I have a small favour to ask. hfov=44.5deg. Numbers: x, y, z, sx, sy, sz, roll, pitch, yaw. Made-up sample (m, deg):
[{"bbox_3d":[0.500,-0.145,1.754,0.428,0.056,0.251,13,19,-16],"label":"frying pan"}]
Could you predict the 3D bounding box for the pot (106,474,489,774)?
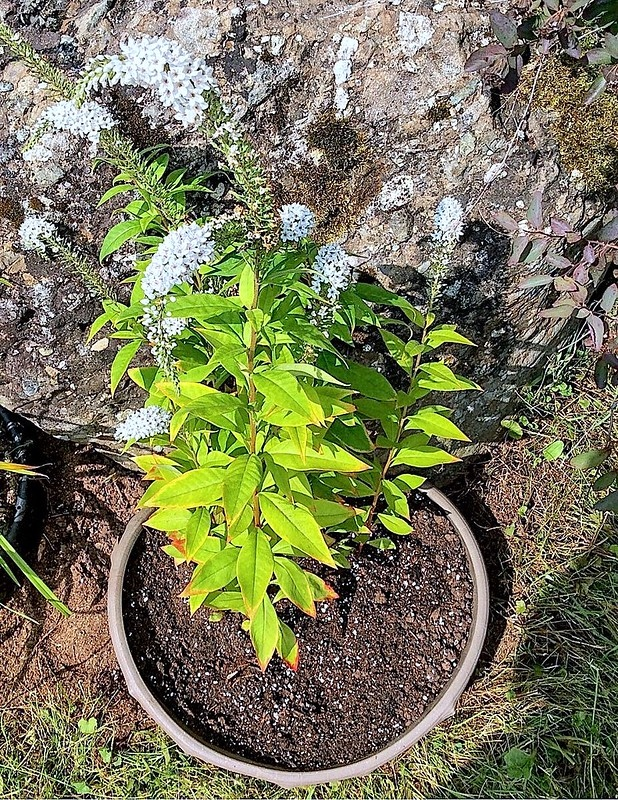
[{"bbox_3d":[0.004,0.703,2.246,1.112,0.312,0.738,-10,78,2],"label":"pot"}]
